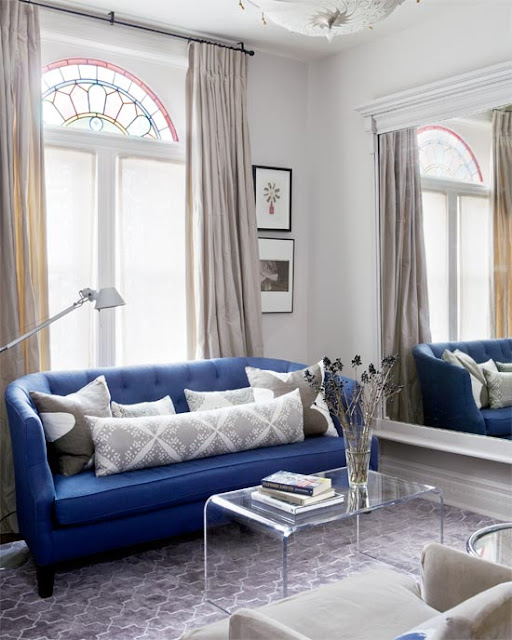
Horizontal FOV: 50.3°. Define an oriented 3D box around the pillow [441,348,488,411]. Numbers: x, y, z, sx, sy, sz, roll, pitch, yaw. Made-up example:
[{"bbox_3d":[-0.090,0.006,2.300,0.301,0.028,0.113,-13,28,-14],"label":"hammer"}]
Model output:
[{"bbox_3d":[1.199,0.334,3.164,0.081,0.269,0.271,-5,7,-23],"label":"pillow"}]
